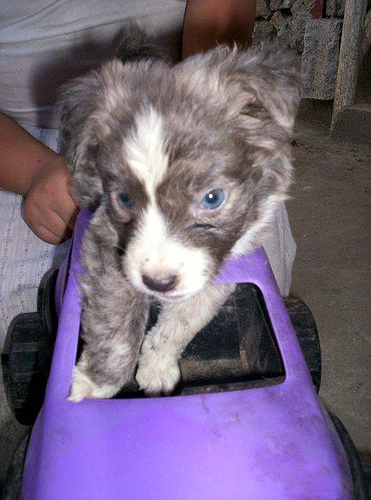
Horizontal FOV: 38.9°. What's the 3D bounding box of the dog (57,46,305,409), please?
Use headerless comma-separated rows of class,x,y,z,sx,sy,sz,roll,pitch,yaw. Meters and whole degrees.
dog,-0.076,-0.125,1.513,0.538,0.976,1.036,11,33,-2
